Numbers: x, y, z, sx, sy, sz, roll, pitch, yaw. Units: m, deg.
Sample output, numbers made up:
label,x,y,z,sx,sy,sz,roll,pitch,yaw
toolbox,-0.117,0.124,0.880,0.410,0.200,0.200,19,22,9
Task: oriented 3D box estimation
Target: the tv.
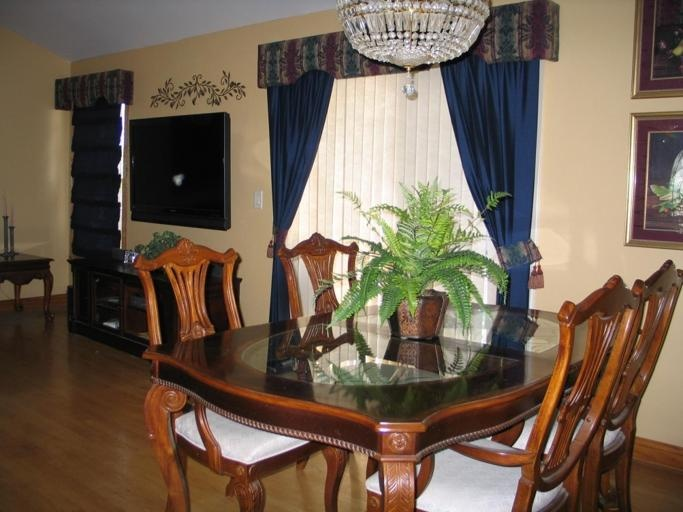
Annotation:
label,x,y,z,sx,sy,sz,roll,pitch,yaw
tv,-1.487,-0.810,4.866,1.002,0.852,0.107,6,6,33
